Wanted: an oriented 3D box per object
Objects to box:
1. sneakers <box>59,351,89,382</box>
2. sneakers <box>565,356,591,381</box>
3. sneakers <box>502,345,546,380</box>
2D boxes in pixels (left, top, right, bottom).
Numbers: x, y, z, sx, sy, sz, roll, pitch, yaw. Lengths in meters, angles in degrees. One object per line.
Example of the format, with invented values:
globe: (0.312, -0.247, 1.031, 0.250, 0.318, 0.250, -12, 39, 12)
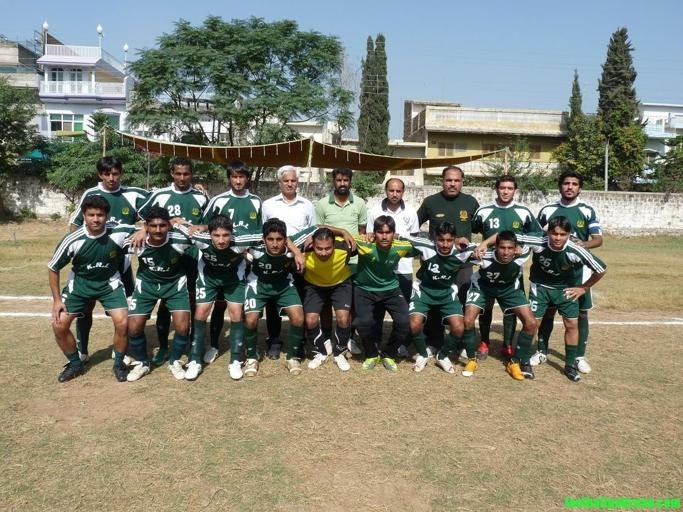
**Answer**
sneakers: (-3.242, 1.295, 7.541, 0.207, 0.293, 0.459, 1, 10, 2)
sneakers: (3.001, 1.429, 7.995, 0.262, 0.176, 0.526, 7, 12, 33)
sneakers: (2.286, 1.423, 8.181, 0.215, 0.248, 0.588, -3, 3, -4)
